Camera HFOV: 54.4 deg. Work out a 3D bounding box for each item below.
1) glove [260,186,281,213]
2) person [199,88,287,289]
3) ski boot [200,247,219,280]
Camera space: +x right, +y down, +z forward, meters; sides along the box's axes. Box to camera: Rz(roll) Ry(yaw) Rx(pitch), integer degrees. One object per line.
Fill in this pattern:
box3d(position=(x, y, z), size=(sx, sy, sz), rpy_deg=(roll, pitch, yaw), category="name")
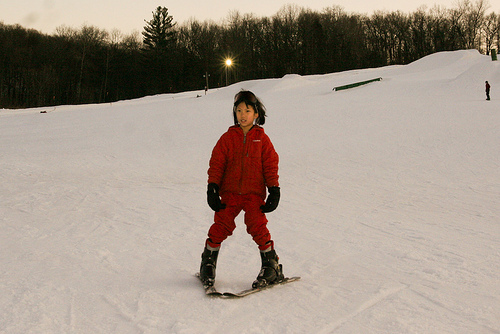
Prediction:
box3d(position=(0.324, 0.535, 7.889), size=(0.318, 0.440, 0.233), rpy_deg=(-2, 8, -3), category="glove")
box3d(position=(-0.112, 0.355, 8.030), size=(1.339, 3.168, 0.622), rpy_deg=(-2, 7, -5), category="person")
box3d(position=(-0.675, 1.572, 8.035), size=(0.304, 0.511, 0.242), rpy_deg=(-2, 8, -6), category="ski boot")
